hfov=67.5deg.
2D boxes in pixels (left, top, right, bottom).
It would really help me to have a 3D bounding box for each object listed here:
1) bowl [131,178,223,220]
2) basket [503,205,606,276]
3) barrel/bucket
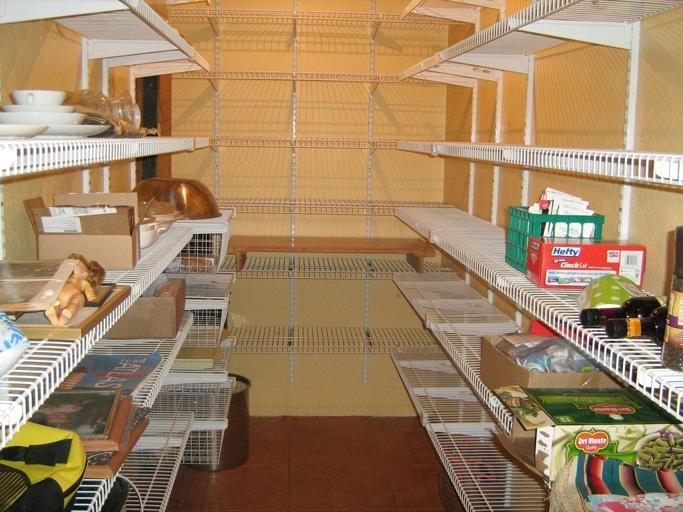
[{"bbox_3d":[-0.857,-0.316,2.587,0.369,0.131,0.327,0,-2,14],"label":"bowl"},{"bbox_3d":[0.686,-0.075,1.675,0.300,0.260,0.162,2,-75,4],"label":"basket"},{"bbox_3d":[-0.738,1.075,3.201,0.350,0.374,0.506,3,-45,-14],"label":"barrel/bucket"}]
